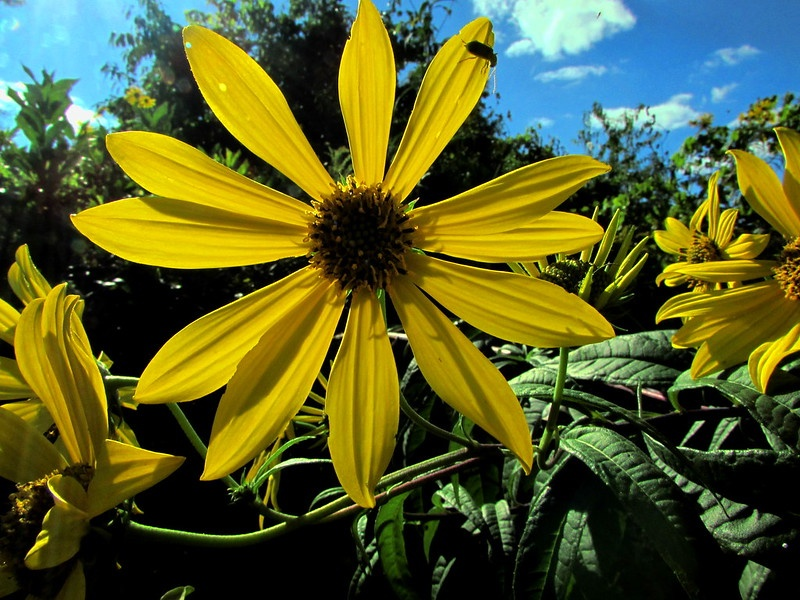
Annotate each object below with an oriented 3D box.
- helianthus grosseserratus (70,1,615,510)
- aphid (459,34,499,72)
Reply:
[{"bbox_3d":[-0.133,-0.116,1.627,1.237,1.138,0.324,-10,-3,-1],"label":"helianthus grosseserratus"},{"bbox_3d":[0.207,-0.608,1.611,0.073,0.076,0.204,-10,-2,11],"label":"aphid"}]
